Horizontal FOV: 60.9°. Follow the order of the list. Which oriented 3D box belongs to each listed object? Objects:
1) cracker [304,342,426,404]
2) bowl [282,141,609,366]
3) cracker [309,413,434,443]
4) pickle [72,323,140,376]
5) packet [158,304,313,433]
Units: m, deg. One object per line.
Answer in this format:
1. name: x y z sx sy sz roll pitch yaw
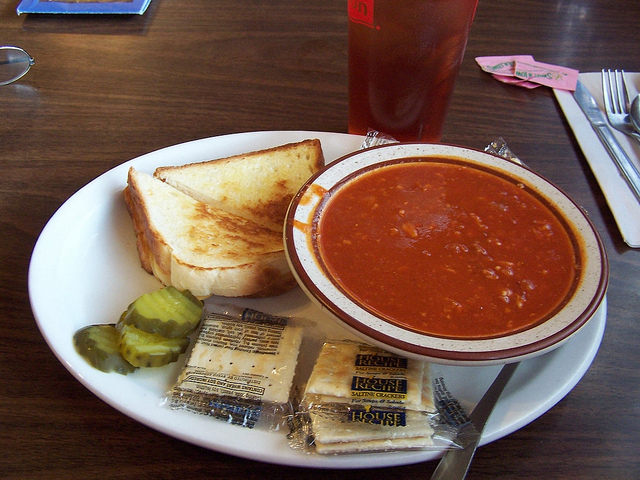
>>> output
1. cracker: 0.127 0.328 1.375 0.317 0.030 0.145 3 56 -2
2. bowl: 0.325 0.021 1.554 0.847 0.189 0.723 -29 74 -25
3. cracker: 0.115 0.455 1.345 0.304 0.229 0.023 -5 87 -8
4. pickle: -0.572 0.295 1.434 0.093 0.105 0.183 -35 76 -8
5. packet: -0.213 0.338 1.432 0.358 0.059 0.267 7 51 7
